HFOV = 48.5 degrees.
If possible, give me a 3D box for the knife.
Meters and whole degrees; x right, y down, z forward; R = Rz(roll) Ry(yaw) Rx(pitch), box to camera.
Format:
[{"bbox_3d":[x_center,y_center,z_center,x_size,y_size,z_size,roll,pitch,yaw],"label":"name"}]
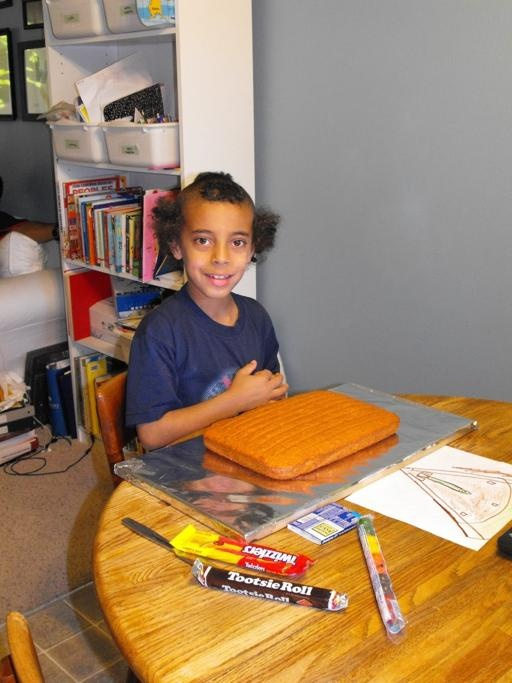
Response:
[{"bbox_3d":[-0.104,0.209,0.643,0.027,0.009,0.184,-16,25,-42],"label":"knife"}]
